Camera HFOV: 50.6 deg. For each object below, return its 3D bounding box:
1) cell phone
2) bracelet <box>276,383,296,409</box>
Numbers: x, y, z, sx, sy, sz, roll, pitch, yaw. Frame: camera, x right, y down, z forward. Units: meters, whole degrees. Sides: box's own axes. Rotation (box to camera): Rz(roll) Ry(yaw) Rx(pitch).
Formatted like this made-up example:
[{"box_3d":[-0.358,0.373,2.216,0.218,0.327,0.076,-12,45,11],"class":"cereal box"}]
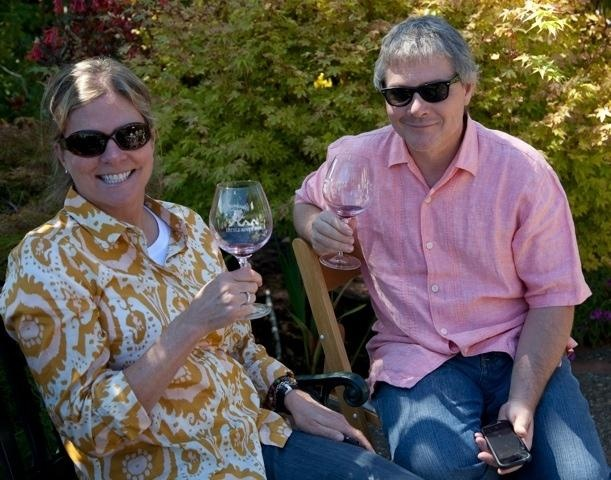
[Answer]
[{"box_3d":[0.777,0.796,2.533,0.127,0.023,0.231,-7,26,-2],"class":"cell phone"},{"box_3d":[-0.090,0.665,2.780,0.079,0.114,0.049,6,-10,-16],"class":"bracelet"}]
